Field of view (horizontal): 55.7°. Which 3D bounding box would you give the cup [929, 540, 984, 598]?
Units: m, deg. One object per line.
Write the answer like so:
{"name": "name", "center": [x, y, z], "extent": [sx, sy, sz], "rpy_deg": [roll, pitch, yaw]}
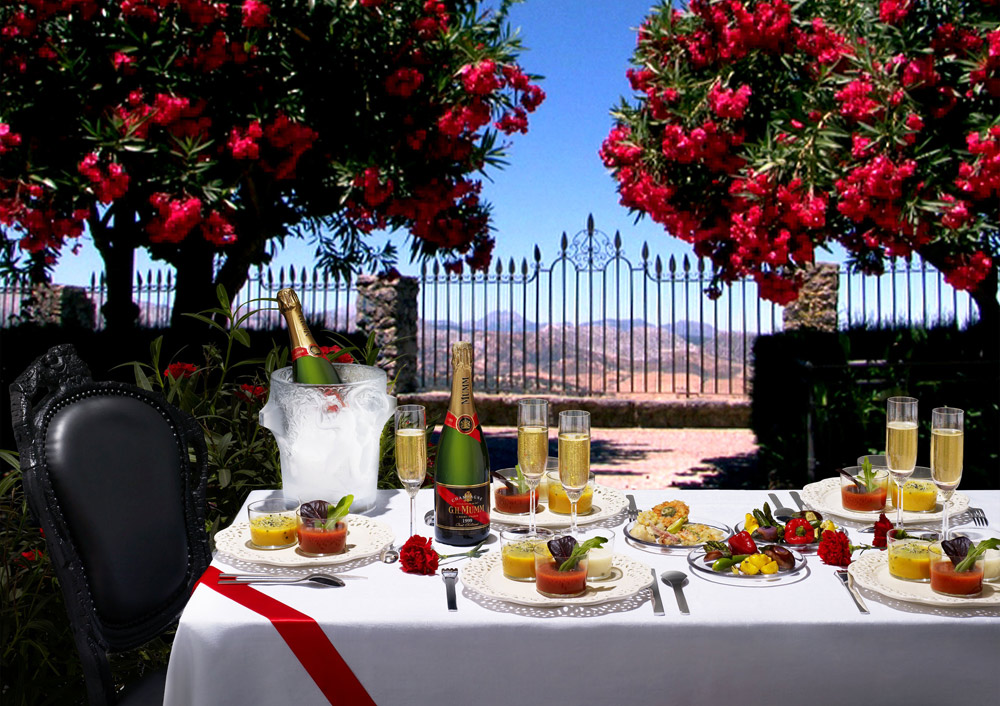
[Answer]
{"name": "cup", "center": [1.812, 0.850, 3.788], "extent": [0.182, 0.246, 0.206], "rpy_deg": [0, -4, -8]}

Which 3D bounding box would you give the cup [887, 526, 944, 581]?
{"name": "cup", "center": [1.683, 0.818, 3.857], "extent": [0.158, 0.162, 0.201], "rpy_deg": [0, -2, 2]}

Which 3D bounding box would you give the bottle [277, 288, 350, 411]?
{"name": "bottle", "center": [-0.895, -0.083, 4.446], "extent": [0.291, 0.482, 0.728], "rpy_deg": [-1, 10, -12]}

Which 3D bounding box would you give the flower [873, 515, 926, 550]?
{"name": "flower", "center": [1.645, 0.767, 3.991], "extent": [0.104, 0.116, 0.150], "rpy_deg": [1, 7, 8]}

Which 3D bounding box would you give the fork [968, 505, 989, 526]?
{"name": "fork", "center": [2.182, 0.750, 4.328], "extent": [0.066, 0.099, 0.007], "rpy_deg": [1, -29, -7]}

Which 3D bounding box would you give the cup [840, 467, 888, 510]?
{"name": "cup", "center": [1.676, 0.629, 4.363], "extent": [0.164, 0.153, 0.187], "rpy_deg": [0, -3, 3]}

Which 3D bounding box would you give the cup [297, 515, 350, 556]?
{"name": "cup", "center": [-0.741, 0.764, 4.031], "extent": [0.143, 0.106, 0.156], "rpy_deg": [0, 0, 0]}

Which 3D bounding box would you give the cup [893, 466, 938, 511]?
{"name": "cup", "center": [1.962, 0.652, 4.495], "extent": [0.180, 0.161, 0.204], "rpy_deg": [-1, -2, -1]}

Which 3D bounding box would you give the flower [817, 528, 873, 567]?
{"name": "flower", "center": [1.451, 0.813, 4.011], "extent": [0.213, 0.170, 0.123], "rpy_deg": [2, 2, -35]}

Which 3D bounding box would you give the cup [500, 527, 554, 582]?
{"name": "cup", "center": [0.089, 0.814, 3.838], "extent": [0.162, 0.149, 0.185], "rpy_deg": [0, -2, 2]}

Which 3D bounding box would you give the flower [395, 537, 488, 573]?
{"name": "flower", "center": [-0.241, 0.814, 3.949], "extent": [0.279, 0.144, 0.164], "rpy_deg": [5, -2, -24]}
